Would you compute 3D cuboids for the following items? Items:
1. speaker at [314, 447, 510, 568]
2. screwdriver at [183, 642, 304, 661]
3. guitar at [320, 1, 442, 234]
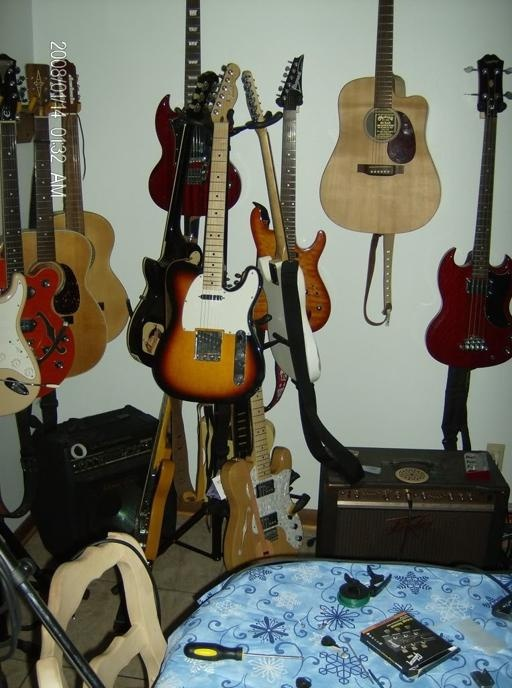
[{"bbox_3d":[0.525,0.540,2.274,0.666,0.351,0.489,1,18,-2],"label":"speaker"},{"bbox_3d":[-0.026,0.536,1.091,0.210,0.019,0.052,2,7,9],"label":"screwdriver"},{"bbox_3d":[0.414,-0.739,2.083,0.390,0.723,0.119,2,6,14],"label":"guitar"}]
